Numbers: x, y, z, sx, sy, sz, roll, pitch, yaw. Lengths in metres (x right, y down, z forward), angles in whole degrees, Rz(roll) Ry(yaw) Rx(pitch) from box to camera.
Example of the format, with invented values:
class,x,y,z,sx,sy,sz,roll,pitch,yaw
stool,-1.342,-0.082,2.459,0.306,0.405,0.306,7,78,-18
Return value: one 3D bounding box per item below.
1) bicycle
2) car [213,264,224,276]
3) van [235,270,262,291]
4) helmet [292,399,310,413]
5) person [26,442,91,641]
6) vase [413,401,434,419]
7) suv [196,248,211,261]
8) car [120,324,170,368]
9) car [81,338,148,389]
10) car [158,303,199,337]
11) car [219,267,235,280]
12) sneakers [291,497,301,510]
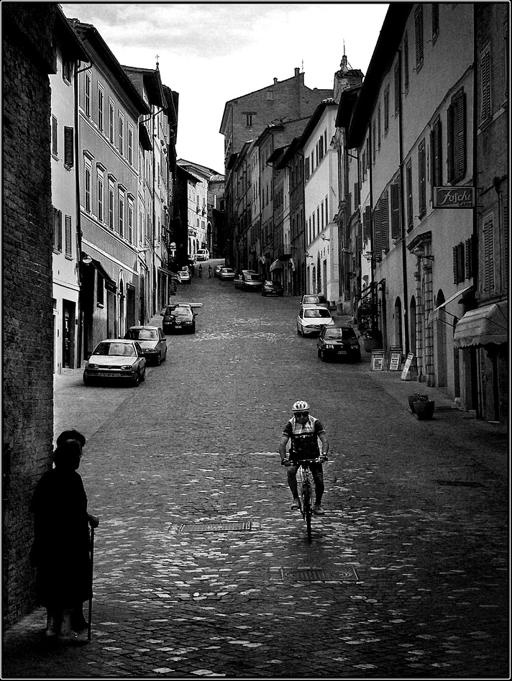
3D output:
class,x,y,z,sx,sy,sz,roll,pitch,yaw
bicycle,0.606,1.818,10.554,0.436,0.920,1.234,-1,5,4
car,-4.329,-8.197,102.235,0.966,1.554,2.519,-1,8,-8
van,-0.707,-5.265,78.097,1.050,1.649,3.629,-2,1,-8
helmet,0.531,0.806,10.659,0.169,0.138,0.328,0,0,-3
person,-1.451,1.375,6.606,0.344,1.600,0.403,2,20,-6
vase,3.813,1.589,20.006,0.292,0.357,0.372,0,-6,-3
suv,-8.284,-12.762,132.634,1.599,1.905,3.360,0,0,-6
car,-4.059,0.247,31.822,1.131,1.281,2.216,0,0,-3
car,-4.464,0.768,27.639,1.847,1.230,2.418,0,0,-11
car,-4.045,-1.036,45.179,1.617,1.484,2.466,0,0,-9
car,-3.320,-7.260,96.559,1.491,1.431,2.101,0,0,-9
sneakers,0.477,2.000,10.773,0.054,0.182,0.206,-2,-10,8
